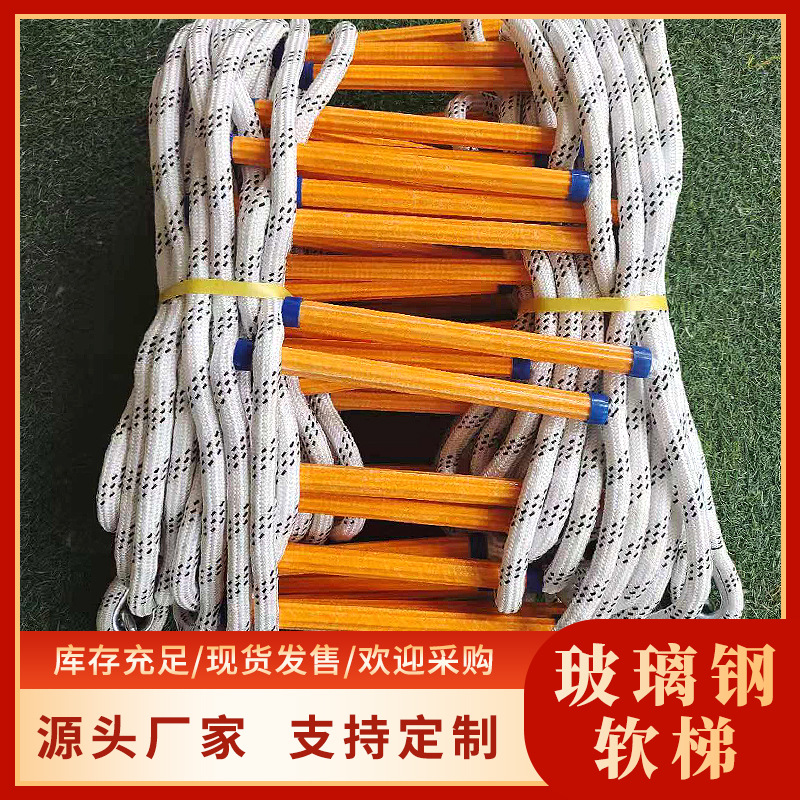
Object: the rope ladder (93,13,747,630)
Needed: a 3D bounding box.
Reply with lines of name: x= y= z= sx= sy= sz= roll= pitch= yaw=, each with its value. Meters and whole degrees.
rope ladder: x=0.009 y=-0.132 z=1.934 sx=0.920 sy=0.345 sz=0.916 roll=0 pitch=84 yaw=-2
